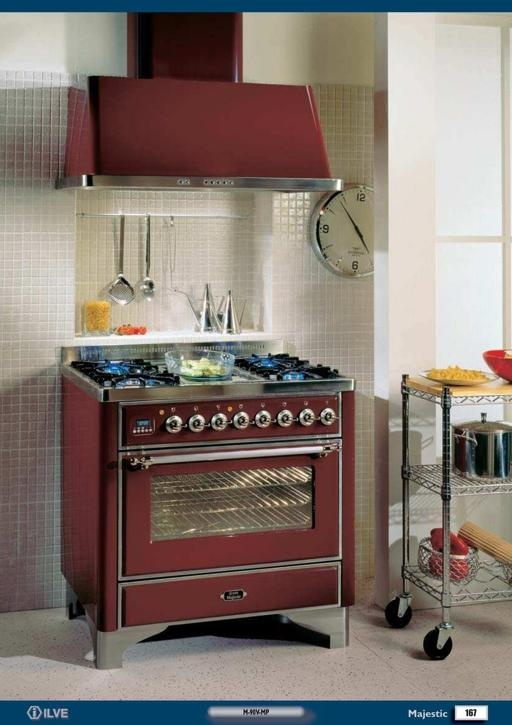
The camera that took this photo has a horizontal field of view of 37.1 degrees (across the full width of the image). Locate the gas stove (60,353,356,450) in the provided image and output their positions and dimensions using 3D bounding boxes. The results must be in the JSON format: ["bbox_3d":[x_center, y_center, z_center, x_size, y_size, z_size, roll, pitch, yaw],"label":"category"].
[{"bbox_3d":[-0.162,0.137,2.791,0.913,0.266,0.519,-3,3,-22],"label":"gas stove"}]

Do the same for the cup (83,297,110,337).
[{"bbox_3d":[-0.672,-0.187,3.200,0.158,0.204,0.135,-1,3,-11],"label":"cup"}]

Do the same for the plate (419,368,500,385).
[{"bbox_3d":[0.721,0.049,2.746,0.258,0.063,0.242,-1,3,16],"label":"plate"}]

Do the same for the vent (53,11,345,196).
[{"bbox_3d":[-0.251,-1.123,3.009,1.013,0.898,0.545,-4,9,-19],"label":"vent"}]

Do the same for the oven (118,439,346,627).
[{"bbox_3d":[-0.162,0.604,2.802,0.901,0.575,0.513,1,-8,-20],"label":"oven"}]
